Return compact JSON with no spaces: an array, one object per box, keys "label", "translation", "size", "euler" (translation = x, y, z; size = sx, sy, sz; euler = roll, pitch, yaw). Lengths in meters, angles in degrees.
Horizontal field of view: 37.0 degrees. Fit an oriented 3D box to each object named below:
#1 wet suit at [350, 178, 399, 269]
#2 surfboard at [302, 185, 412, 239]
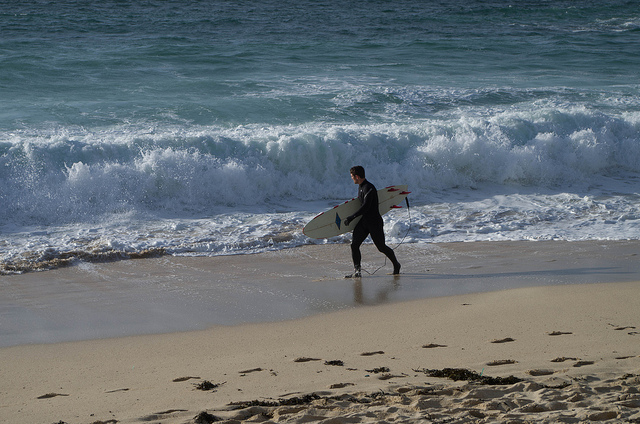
[{"label":"wet suit","translation":[1.257,0.300,23.242],"size":[1.107,2.207,0.599],"euler":[-6,14,2]},{"label":"surfboard","translation":[0.793,0.030,23.642],"size":[0.489,0.909,4.409],"euler":[21,-24,-31]}]
